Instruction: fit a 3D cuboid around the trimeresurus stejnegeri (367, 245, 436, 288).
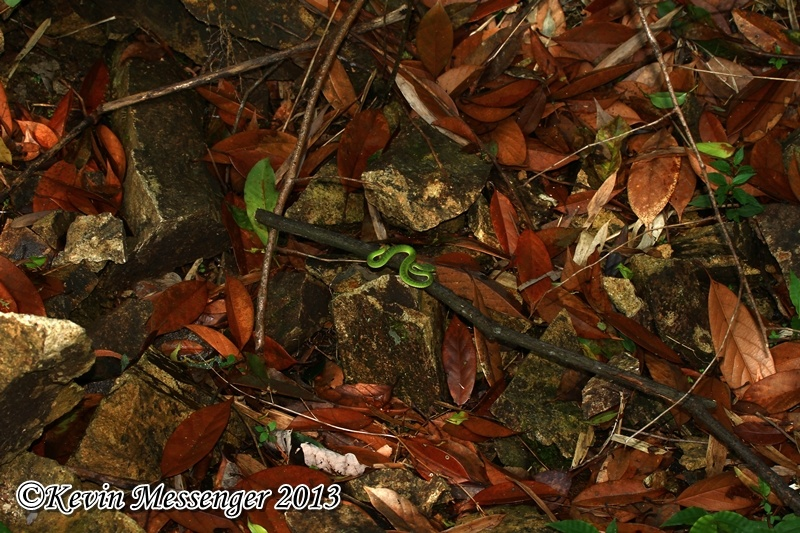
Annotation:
[{"bbox_3d":[0.019,-0.004,4.540,0.324,0.071,0.234,28,60,18],"label":"trimeresurus stejnegeri"}]
